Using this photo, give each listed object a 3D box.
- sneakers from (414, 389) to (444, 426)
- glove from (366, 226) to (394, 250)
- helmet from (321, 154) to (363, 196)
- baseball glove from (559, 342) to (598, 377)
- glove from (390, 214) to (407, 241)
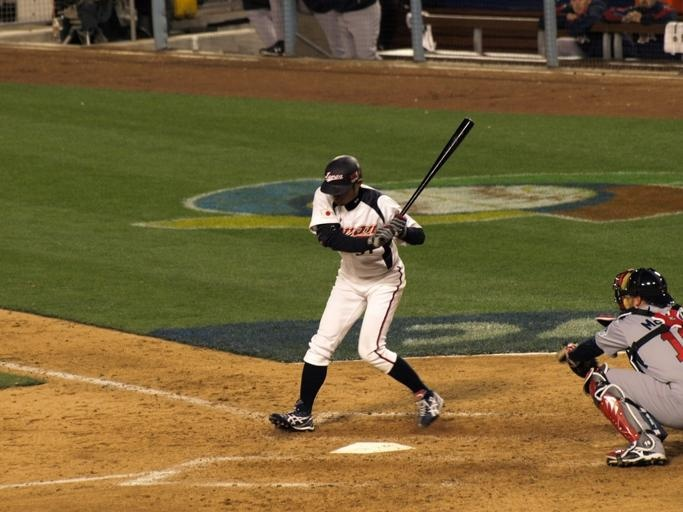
[{"bbox_3d":[1.074,1.910,21.177,0.275,0.569,0.197,24,-30,-11],"label":"sneakers"},{"bbox_3d":[0.470,-0.218,20.844,0.253,0.298,0.196,7,12,27],"label":"glove"},{"bbox_3d":[0.021,-1.001,21.044,0.400,0.294,0.559,25,50,29],"label":"helmet"},{"bbox_3d":[2.847,1.316,21.016,0.344,0.224,0.546,-23,38,-38],"label":"baseball glove"},{"bbox_3d":[0.692,-0.347,20.952,0.139,0.326,0.261,11,13,39],"label":"glove"}]
